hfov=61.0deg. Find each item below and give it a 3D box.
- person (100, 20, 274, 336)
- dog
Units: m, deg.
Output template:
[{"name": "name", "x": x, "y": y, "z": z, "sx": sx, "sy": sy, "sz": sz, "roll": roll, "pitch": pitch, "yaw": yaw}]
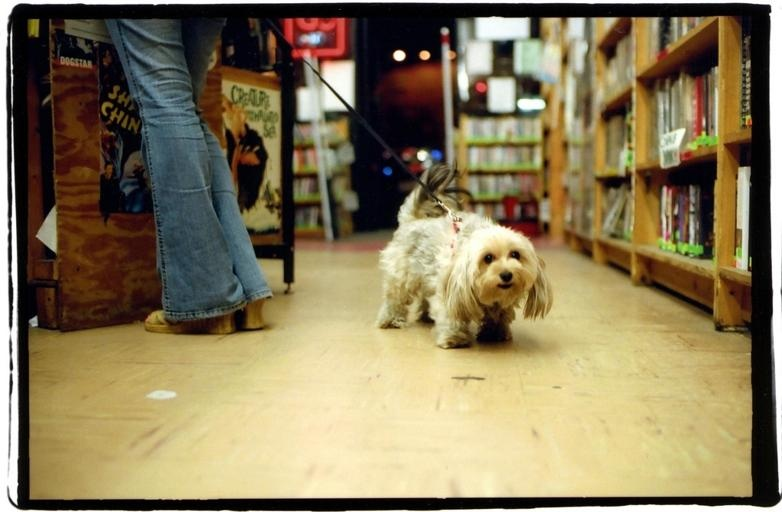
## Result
[{"name": "person", "x": -0.850, "y": -0.336, "z": 2.872, "sx": 0.561, "sy": 1.396, "sz": 0.530, "roll": -6, "pitch": 9, "yaw": -23}, {"name": "dog", "x": 0.304, "y": -0.030, "z": 3.217, "sx": 0.433, "sy": 0.853, "sz": 1.112, "roll": -1, "pitch": 6, "yaw": -27}]
